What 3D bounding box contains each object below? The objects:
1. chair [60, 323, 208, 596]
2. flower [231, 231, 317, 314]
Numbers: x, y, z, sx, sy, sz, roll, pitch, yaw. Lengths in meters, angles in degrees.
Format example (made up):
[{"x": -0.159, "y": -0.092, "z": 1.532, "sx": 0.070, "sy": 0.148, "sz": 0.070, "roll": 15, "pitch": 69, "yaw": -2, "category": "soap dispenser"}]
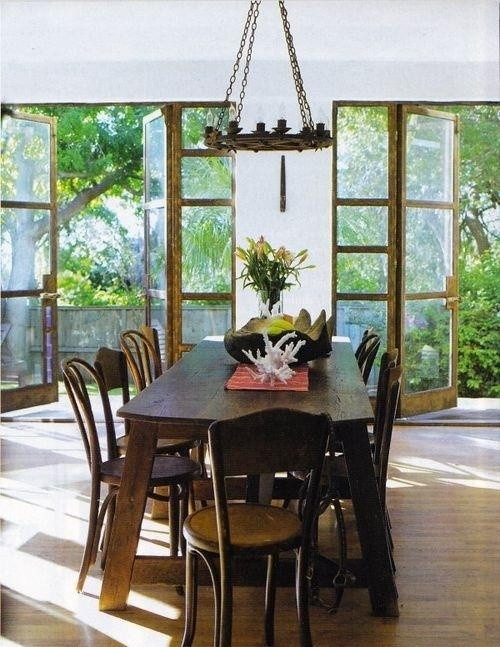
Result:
[{"x": -0.459, "y": 0.428, "z": 2.700, "sx": 0.632, "sy": 1.222, "sz": 0.537, "roll": 1, "pitch": 4, "yaw": -5, "category": "chair"}, {"x": 0.174, "y": -0.329, "z": 4.220, "sx": 0.552, "sy": 0.709, "sz": 0.597, "roll": 0, "pitch": -2, "yaw": -7, "category": "flower"}]
